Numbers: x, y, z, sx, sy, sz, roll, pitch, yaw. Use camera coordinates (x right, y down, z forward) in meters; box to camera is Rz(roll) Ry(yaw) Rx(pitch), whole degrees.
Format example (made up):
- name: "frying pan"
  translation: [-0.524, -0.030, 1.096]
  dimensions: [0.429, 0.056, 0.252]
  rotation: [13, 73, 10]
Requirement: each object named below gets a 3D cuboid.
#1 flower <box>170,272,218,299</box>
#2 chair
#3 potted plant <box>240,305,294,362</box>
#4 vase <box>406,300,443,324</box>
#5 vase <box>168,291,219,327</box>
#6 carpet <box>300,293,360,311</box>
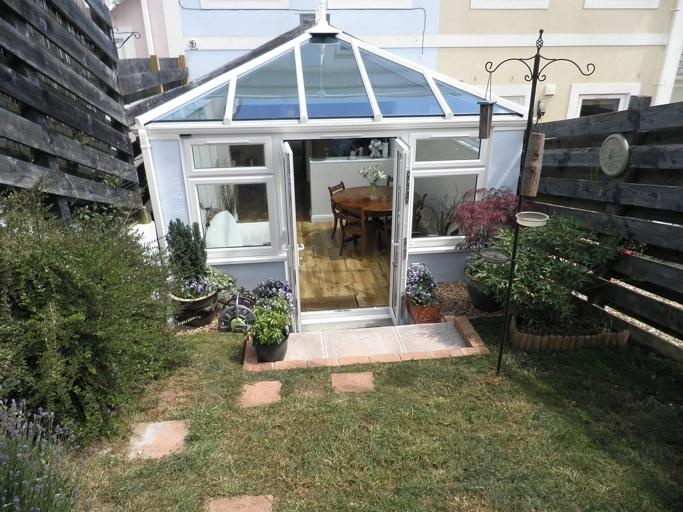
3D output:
- name: "flower"
  translation: [-2.063, 0.427, 6.401]
  dimensions: [0.427, 0.166, 0.334]
  rotation: [4, 15, -9]
- name: "chair"
  translation: [0.423, -0.714, 9.165]
  dimensions: [1.252, 1.343, 1.566]
  rotation: [-2, 12, -3]
- name: "potted plant"
  translation: [-0.892, 0.967, 5.870]
  dimensions: [0.718, 0.782, 0.626]
  rotation: [-1, 7, -13]
- name: "vase"
  translation: [1.244, 0.866, 6.752]
  dimensions: [0.469, 0.313, 0.329]
  rotation: [-2, 12, -9]
- name: "vase"
  translation: [-2.066, 0.803, 6.359]
  dimensions: [0.554, 0.377, 0.575]
  rotation: [17, 23, 38]
- name: "carpet"
  translation: [-0.178, 0.774, 7.327]
  dimensions: [0.938, 0.102, 0.458]
  rotation: [-2, 12, -4]
